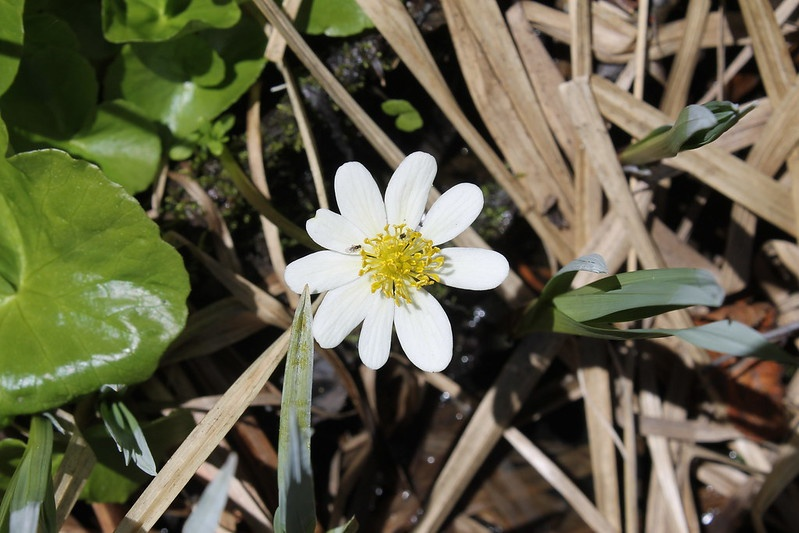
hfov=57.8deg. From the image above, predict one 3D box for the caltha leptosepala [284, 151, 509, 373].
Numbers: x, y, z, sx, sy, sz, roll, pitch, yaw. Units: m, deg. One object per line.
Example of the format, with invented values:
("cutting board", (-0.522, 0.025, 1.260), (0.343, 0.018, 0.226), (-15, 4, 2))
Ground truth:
("caltha leptosepala", (-0.009, -0.001, 1.981), (0.582, 0.505, 0.365), (-26, 36, -10))
